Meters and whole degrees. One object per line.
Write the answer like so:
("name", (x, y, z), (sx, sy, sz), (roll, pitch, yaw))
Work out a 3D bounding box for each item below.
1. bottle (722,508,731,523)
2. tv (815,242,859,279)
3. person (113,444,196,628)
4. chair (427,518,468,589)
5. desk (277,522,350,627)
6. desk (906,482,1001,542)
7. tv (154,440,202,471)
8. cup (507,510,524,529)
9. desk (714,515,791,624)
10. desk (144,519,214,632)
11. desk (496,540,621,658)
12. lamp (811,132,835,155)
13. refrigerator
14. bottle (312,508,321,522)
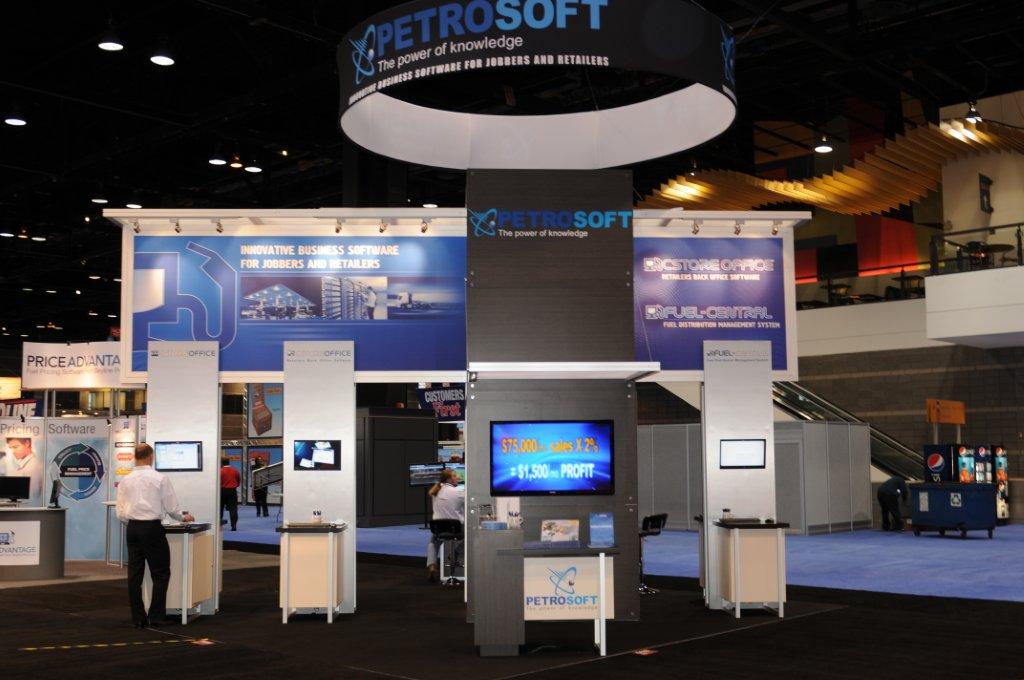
("bottle", (2.840, 2.307, 14.161), (0.133, 0.217, 0.124), (-1, -3, 0))
("tv", (8.628, -2.071, 28.194), (0.377, 0.891, 1.114), (11, -11, -30))
("person", (-4.531, 2.433, 13.475), (0.783, 2.233, 0.435), (-1, -1, -17))
("chair", (-1.022, 3.202, 16.624), (0.526, 0.971, 1.212), (-1, -1, -5))
("desk", (-2.715, 2.916, 13.587), (1.186, 1.537, 1.157), (-1, -4, -5))
("desk", (8.735, 3.361, 21.122), (0.856, 0.971, 1.473), (7, -11, -22))
("tv", (-4.370, 1.525, 14.062), (0.455, 0.278, 0.042), (-1, -1, -2))
("cup", (0.031, 2.084, 12.339), (0.179, 0.227, 0.145), (2, -14, -6))
("desk", (3.102, 2.891, 13.689), (1.183, 1.558, 1.157), (1, -7, 2))
("desk", (-4.397, 3.067, 14.002), (0.809, 1.139, 1.268), (-1, -10, -6))
("desk", (0.506, 2.960, 12.306), (1.399, 1.140, 0.511), (1, -10, -4))
("lamp", (7.000, -4.325, 23.986), (0.596, 0.575, 0.597), (2, 1, 16))
("refrigerator", (9.266, 2.999, 21.719), (1.898, 1.649, 1.003), (-5, -40, 27))
("bottle", (-2.524, 2.282, 13.863), (0.115, 0.191, 0.112), (-1, 5, 0))
